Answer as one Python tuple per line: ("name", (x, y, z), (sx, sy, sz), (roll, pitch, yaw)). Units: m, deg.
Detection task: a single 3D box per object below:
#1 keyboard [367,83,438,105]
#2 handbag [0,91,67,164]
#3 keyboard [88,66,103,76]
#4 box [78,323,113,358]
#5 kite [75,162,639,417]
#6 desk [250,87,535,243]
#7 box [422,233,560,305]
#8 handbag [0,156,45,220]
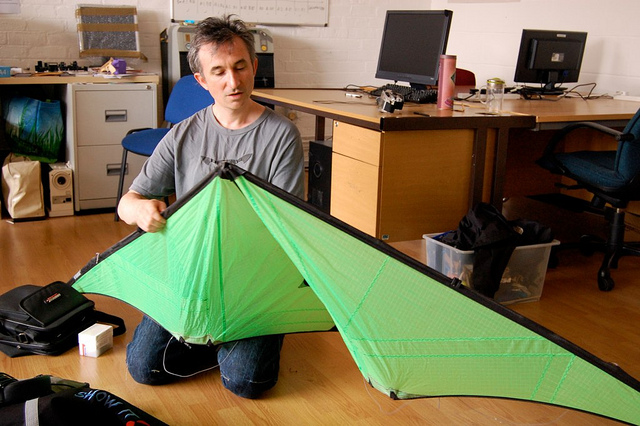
("keyboard", (0.574, -0.798, 3.369), (0.243, 0.100, 0.519), (-8, 19, -30))
("handbag", (-2.122, -0.629, 3.744), (0.471, 0.457, 0.288), (17, 13, 4))
("keyboard", (-1.719, -1.093, 3.864), (0.096, 0.064, 0.376), (-5, 18, -22))
("box", (-1.004, 0.569, 2.331), (0.126, 0.123, 0.170), (4, 15, 21))
("kite", (0.057, 0.232, 1.721), (1.861, 0.789, 0.385), (9, 18, 22))
("desk", (0.507, -0.296, 3.044), (0.812, 0.997, 1.654), (-4, 14, -22))
("box", (0.920, 0.275, 2.842), (0.662, 0.348, 0.452), (-2, 13, -19))
("handbag", (-2.156, -0.190, 3.663), (0.269, 0.428, 0.243), (-7, 19, -27))
